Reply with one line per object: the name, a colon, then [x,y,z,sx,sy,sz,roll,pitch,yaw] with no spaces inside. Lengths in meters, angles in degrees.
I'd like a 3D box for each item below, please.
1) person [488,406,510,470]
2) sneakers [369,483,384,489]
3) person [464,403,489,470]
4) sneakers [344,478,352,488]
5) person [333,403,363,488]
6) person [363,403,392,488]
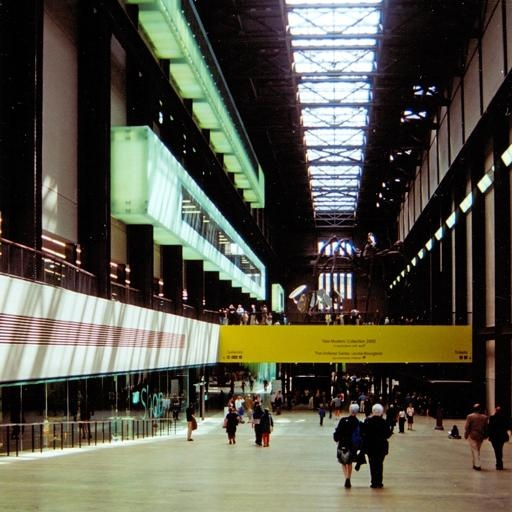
person: [5.769,4.329,17.746,0.462,1.614,2.031,-5,-18,16]
sneakers: [2.310,4.390,14.235,0.258,0.108,0.280,-5,-20,8]
person: [5.070,4.191,17.229,0.467,1.520,0.714,-13,-19,41]
sneakers: [1.765,4.376,14.358,0.102,0.191,0.379,-1,-19,4]
person: [1.851,3.780,14.858,0.542,1.688,1.915,-3,-17,8]
person: [2.372,3.716,14.559,0.542,1.603,0.624,-3,-15,10]
